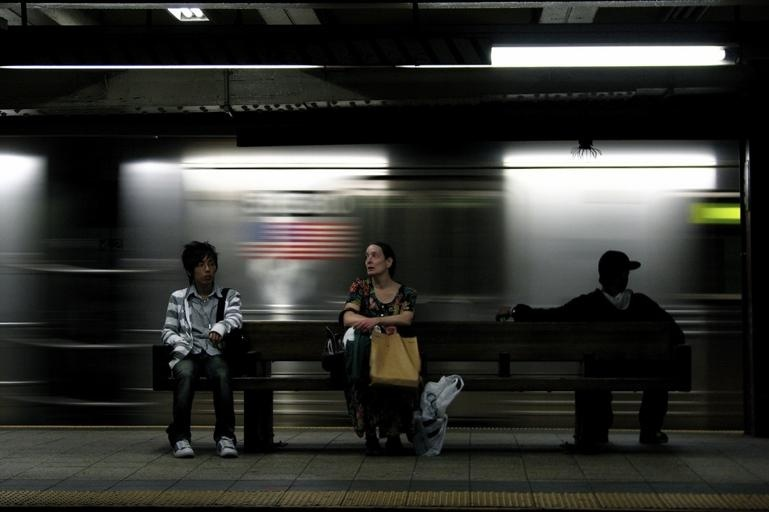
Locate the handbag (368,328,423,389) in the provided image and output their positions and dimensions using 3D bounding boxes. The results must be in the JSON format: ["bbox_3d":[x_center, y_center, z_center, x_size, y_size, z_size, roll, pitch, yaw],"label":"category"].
[{"bbox_3d":[0.077,1.006,7.403,0.677,0.759,0.280,3,-41,-3],"label":"handbag"}]

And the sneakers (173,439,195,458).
[{"bbox_3d":[-1.992,1.908,7.592,0.148,0.124,0.320,3,-13,-16],"label":"sneakers"}]

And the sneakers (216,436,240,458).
[{"bbox_3d":[-1.556,1.881,7.608,0.166,0.194,0.219,0,1,-23],"label":"sneakers"}]

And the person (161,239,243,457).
[{"bbox_3d":[-1.859,0.920,7.818,0.782,2.124,0.711,0,1,-7],"label":"person"}]

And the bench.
[{"bbox_3d":[0.683,1.299,8.001,4.649,0.984,0.777,-1,9,7],"label":"bench"}]

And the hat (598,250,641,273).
[{"bbox_3d":[2.581,0.062,8.466,0.426,0.180,0.254,0,2,-8],"label":"hat"}]

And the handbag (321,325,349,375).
[{"bbox_3d":[-0.488,0.942,7.733,0.277,0.440,0.467,-1,24,-1],"label":"handbag"}]
